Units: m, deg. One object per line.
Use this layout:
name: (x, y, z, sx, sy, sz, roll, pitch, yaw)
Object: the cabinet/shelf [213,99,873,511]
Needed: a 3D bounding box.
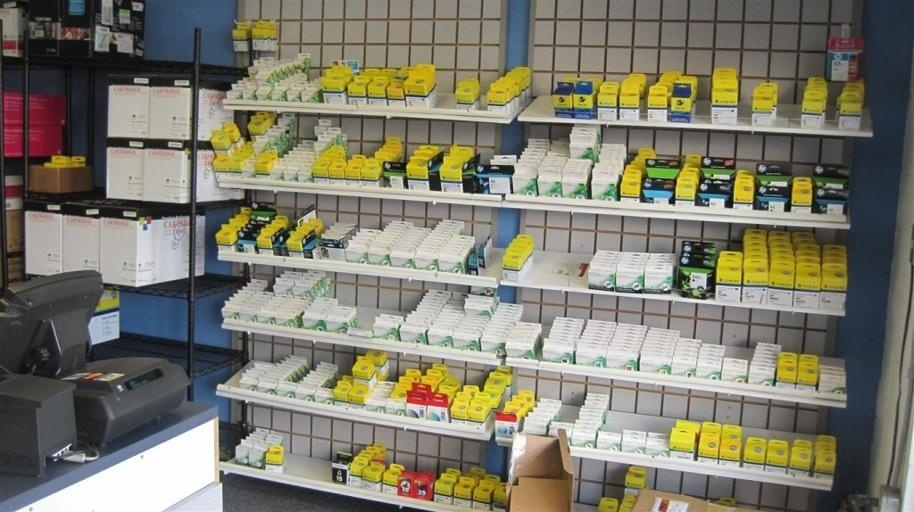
cabinet/shelf: (0.864, 0.376, 6.318, 3.751, 2.038, 0.618, 4, 9, 15)
